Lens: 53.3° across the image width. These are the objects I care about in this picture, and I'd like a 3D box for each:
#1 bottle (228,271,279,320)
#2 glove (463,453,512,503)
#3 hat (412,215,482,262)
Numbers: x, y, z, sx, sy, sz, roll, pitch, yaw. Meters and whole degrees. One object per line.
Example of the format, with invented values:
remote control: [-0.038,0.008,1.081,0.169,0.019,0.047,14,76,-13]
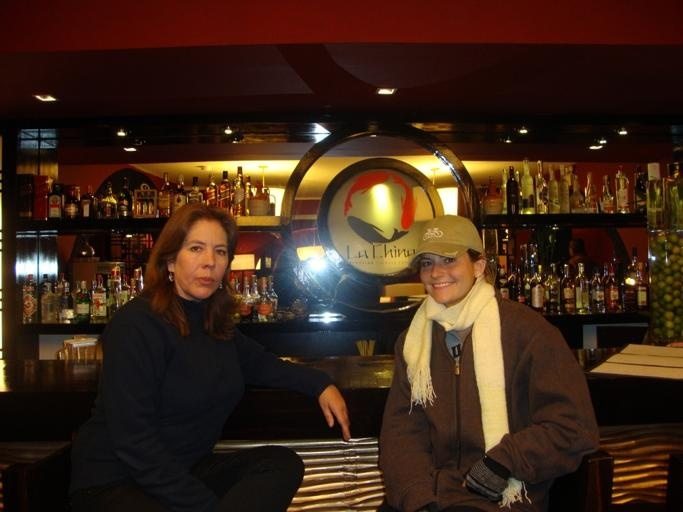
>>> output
bottle: [-0.558,0.267,4.399,0.322,0.308,0.114,3,6,31]
glove: [0.586,0.884,2.767,0.143,0.173,0.193,25,1,33]
hat: [0.469,-0.078,3.086,0.302,0.216,0.424,-6,-6,40]
